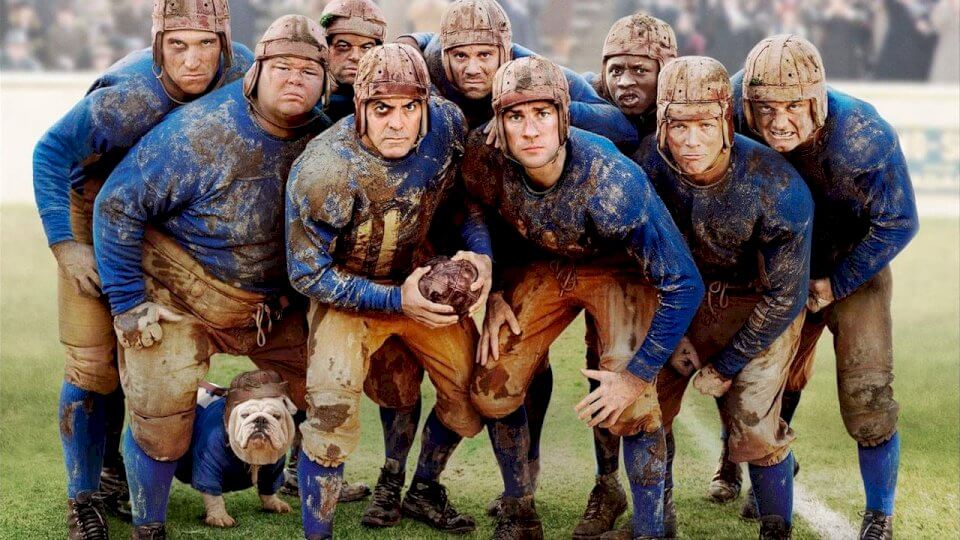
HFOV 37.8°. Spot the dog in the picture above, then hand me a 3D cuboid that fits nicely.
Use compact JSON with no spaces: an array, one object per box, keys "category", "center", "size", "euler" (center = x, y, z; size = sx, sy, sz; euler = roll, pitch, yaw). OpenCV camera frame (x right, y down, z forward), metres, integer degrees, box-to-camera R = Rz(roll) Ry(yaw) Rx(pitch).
[{"category":"dog","center":[-2.891,2.004,16.322],"size":[1.173,1.645,2.031],"euler":[3,2,-32]}]
